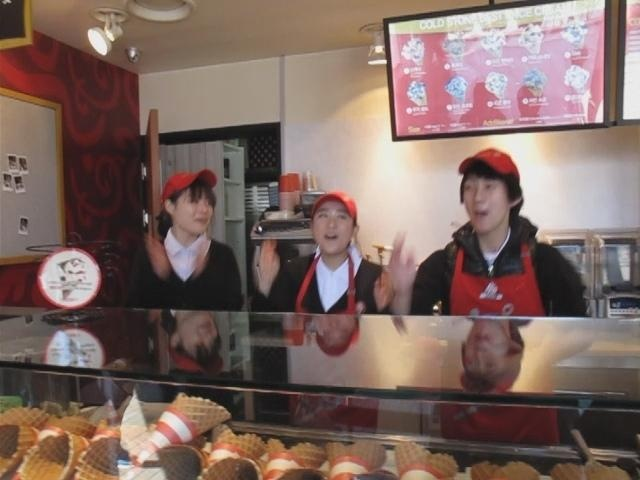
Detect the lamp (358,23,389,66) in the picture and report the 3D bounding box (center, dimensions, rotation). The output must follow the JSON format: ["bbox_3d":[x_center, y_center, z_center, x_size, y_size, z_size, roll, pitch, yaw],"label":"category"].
[{"bbox_3d":[0.367,-1.273,3.469,0.236,0.267,0.243,-1,-1,-5],"label":"lamp"}]

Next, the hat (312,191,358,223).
[{"bbox_3d":[0.177,-0.224,4.008,0.290,0.225,0.481,2,-3,6],"label":"hat"}]

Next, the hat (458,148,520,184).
[{"bbox_3d":[1.182,-0.501,3.710,0.442,0.249,0.272,3,3,-36],"label":"hat"}]
